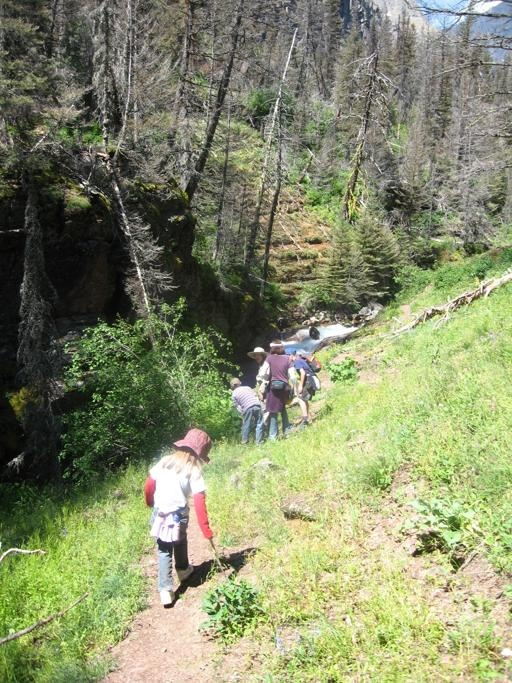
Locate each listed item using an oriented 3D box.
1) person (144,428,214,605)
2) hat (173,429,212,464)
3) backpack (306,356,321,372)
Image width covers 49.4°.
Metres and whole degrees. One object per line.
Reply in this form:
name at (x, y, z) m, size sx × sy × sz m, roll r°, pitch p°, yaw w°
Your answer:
person at (-0.832, 1.864, 5.858) m, size 0.665 × 1.740 × 0.737 m, roll 3°, pitch 13°, yaw -10°
hat at (-0.613, 1.154, 6.065) m, size 0.371 × 0.229 × 0.388 m, roll 18°, pitch -17°, yaw 33°
backpack at (1.231, 0.480, 11.906) m, size 0.217 × 0.399 × 0.291 m, roll -20°, pitch 50°, yaw 7°
